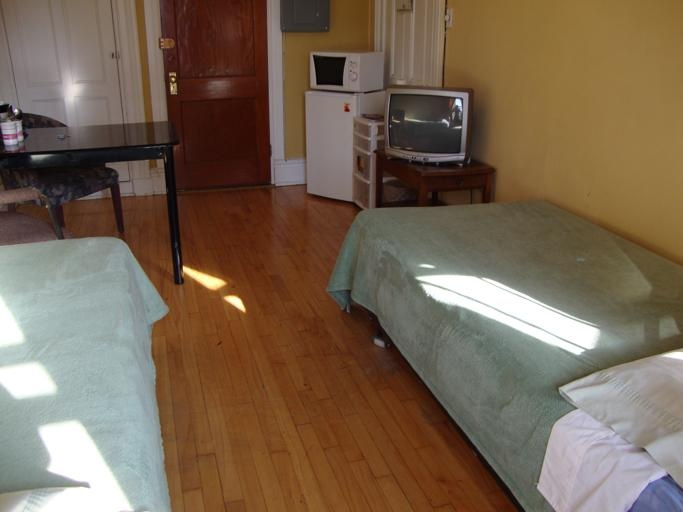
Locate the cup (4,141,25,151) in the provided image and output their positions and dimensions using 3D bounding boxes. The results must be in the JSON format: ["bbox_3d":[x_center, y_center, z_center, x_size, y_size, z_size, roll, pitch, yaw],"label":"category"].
[{"bbox_3d":[-1.835,-0.617,3.059,0.052,0.041,0.053,9,37,-7],"label":"cup"}]

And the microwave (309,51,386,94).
[{"bbox_3d":[0.046,-1.621,4.810,0.654,0.339,0.418,0,22,0],"label":"microwave"}]
